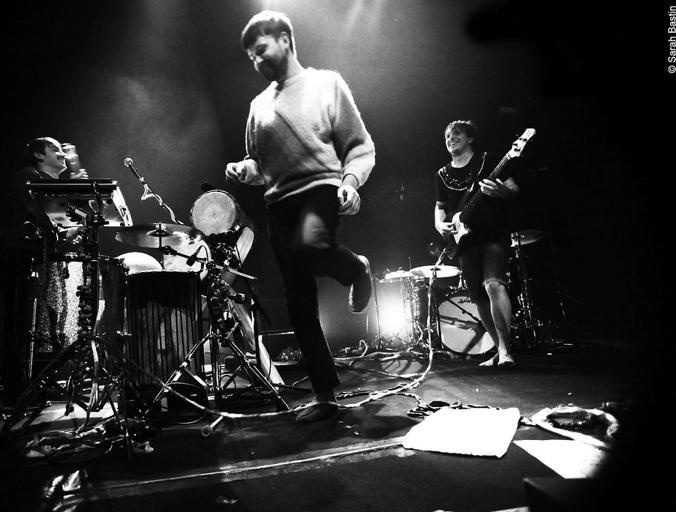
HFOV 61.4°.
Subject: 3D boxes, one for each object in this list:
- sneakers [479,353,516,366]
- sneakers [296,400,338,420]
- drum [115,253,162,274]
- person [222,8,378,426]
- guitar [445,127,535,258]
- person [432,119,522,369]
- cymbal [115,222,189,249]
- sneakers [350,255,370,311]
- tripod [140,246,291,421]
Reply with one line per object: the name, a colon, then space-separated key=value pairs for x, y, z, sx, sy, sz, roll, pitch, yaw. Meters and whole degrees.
sneakers: x=1.194 y=0.763 z=4.250 sx=0.102 sy=0.140 sz=0.325 roll=1 pitch=-8 yaw=-26
sneakers: x=-0.105 y=0.779 z=2.889 sx=0.183 sy=0.065 sz=0.095 roll=-7 pitch=20 yaw=-6
drum: x=-1.559 y=0.049 z=4.484 sx=0.316 sy=0.205 sz=0.349 roll=1 pitch=0 yaw=2
person: x=-0.185 y=-0.288 z=3.075 sx=0.631 sy=2.170 sz=0.708 roll=-11 pitch=11 yaw=-42
guitar: x=1.303 y=-0.519 z=4.878 sx=0.209 sy=0.467 sz=1.455 roll=2 pitch=-35 yaw=-24
person: x=1.155 y=-0.142 z=4.575 sx=0.539 sy=1.951 sz=1.275 roll=-4 pitch=8 yaw=-1
cymbal: x=-1.165 y=-0.113 z=3.698 sx=0.310 sy=0.062 sz=0.306 roll=-19 pitch=31 yaw=-39
sneakers: x=0.132 y=0.159 z=3.102 sx=0.101 sy=0.320 sz=0.129 roll=1 pitch=12 yaw=-3
tripod: x=-0.730 y=0.486 z=3.420 sx=0.669 sy=0.847 sz=0.681 roll=-1 pitch=11 yaw=-28
